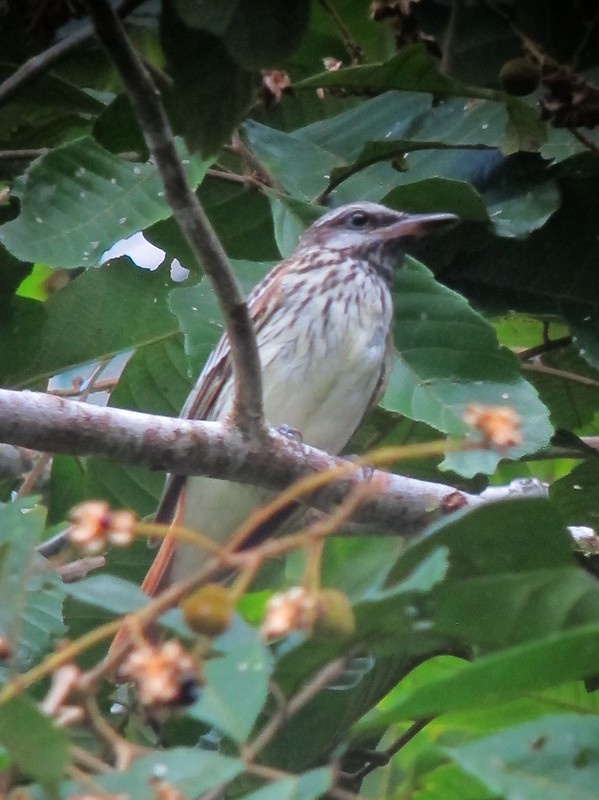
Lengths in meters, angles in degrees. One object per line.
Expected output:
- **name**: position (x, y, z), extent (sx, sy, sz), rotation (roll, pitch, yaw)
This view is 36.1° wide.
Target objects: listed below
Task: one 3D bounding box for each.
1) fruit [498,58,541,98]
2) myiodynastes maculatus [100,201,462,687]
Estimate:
- **fruit**: position (0.323, -0.482, 1.414), extent (0.079, 0.061, 0.066), rotation (-1, 3, 7)
- **myiodynastes maculatus**: position (-0.090, -0.021, 2.196), extent (0.578, 0.816, 0.942), rotation (-6, 21, -28)
